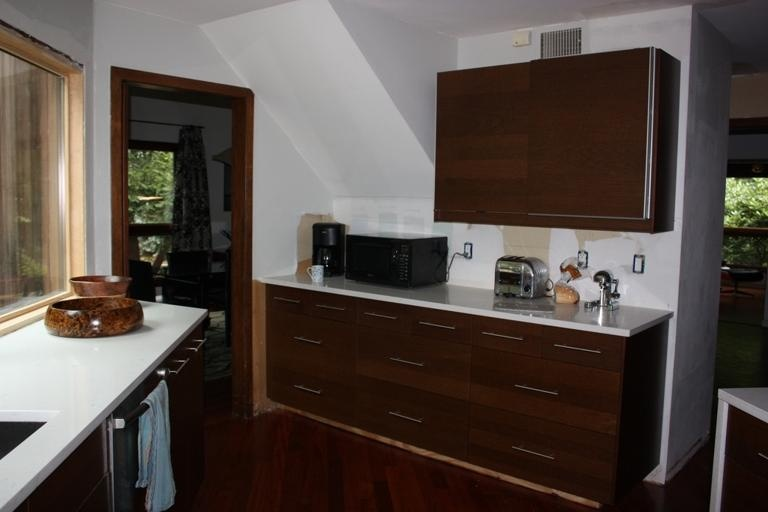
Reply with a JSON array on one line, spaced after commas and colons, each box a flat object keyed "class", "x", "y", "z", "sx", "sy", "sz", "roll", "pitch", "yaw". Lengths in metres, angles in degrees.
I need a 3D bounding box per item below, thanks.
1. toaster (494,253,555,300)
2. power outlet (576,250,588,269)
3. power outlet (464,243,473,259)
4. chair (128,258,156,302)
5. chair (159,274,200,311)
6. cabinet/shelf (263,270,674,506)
[{"class": "toaster", "x": 0.968, "y": 0.127, "z": 3.804, "sx": 0.342, "sy": 0.289, "sz": 0.313, "roll": 6, "pitch": 7, "yaw": 39}, {"class": "power outlet", "x": 1.365, "y": 0.026, "z": 3.747, "sx": 0.078, "sy": 0.122, "sz": 0.034, "roll": 6, "pitch": 11, "yaw": 20}, {"class": "power outlet", "x": 0.643, "y": -0.043, "z": 4.185, "sx": 0.082, "sy": 0.122, "sz": 0.015, "roll": 9, "pitch": 12, "yaw": 32}, {"class": "chair", "x": -2.315, "y": 0.250, "z": 5.197, "sx": 0.206, "sy": 0.370, "sz": 0.477, "roll": -3, "pitch": 12, "yaw": -26}, {"class": "chair", "x": -2.098, "y": 0.375, "z": 5.629, "sx": 0.368, "sy": 0.339, "sz": 0.197, "roll": 0, "pitch": 1, "yaw": 21}, {"class": "cabinet/shelf", "x": 0.475, "y": 0.823, "z": 3.789, "sx": 2.580, "sy": 1.126, "sz": 0.478, "roll": 7, "pitch": 12, "yaw": 26}]
